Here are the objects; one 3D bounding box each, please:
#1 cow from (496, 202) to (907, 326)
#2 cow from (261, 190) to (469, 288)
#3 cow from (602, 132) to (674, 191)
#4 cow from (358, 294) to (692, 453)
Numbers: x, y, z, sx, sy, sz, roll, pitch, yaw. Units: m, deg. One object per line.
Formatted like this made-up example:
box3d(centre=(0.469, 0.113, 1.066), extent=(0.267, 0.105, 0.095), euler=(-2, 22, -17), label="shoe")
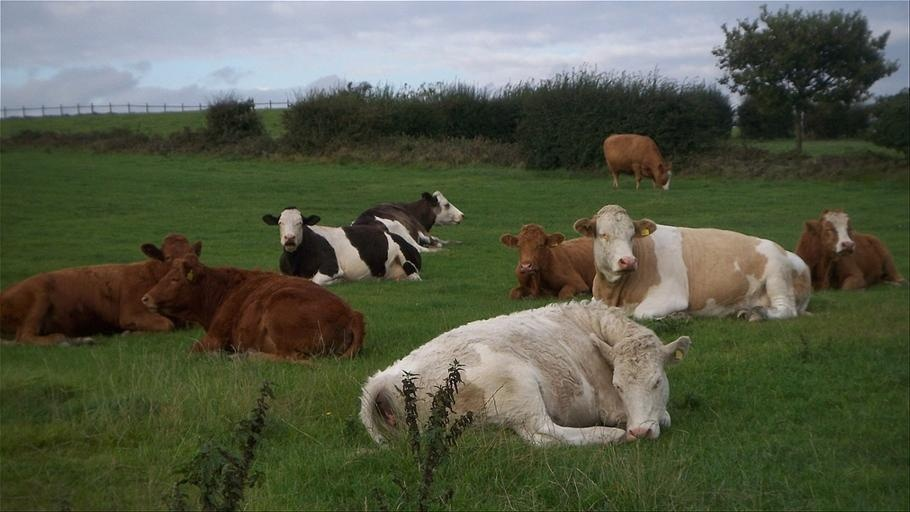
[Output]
box3d(centre=(4.229, -0.031, 14.053), extent=(6.298, 2.047, 2.658), euler=(-3, 12, 4), label="cow")
box3d(centre=(-2.145, -0.451, 18.175), extent=(4.837, 1.727, 1.746), euler=(-6, 10, -40), label="cow")
box3d(centre=(4.989, -2.536, 20.298), extent=(0.695, 1.449, 2.054), euler=(-14, 16, -38), label="cow")
box3d(centre=(1.073, 1.580, 10.003), extent=(3.110, 1.257, 2.108), euler=(-2, 0, -19), label="cow")
